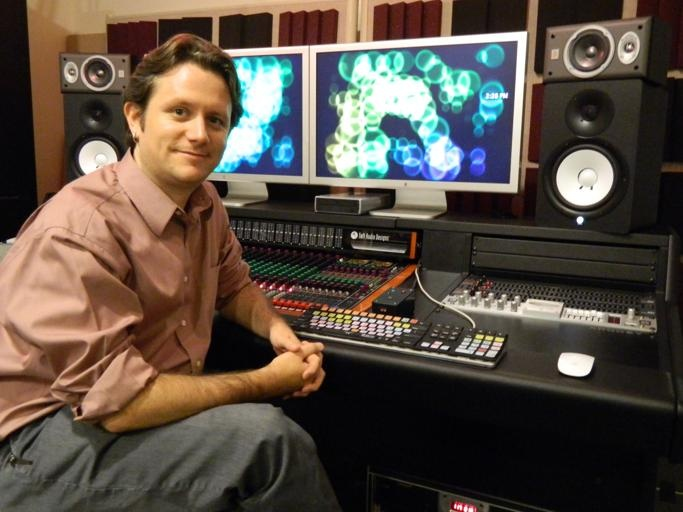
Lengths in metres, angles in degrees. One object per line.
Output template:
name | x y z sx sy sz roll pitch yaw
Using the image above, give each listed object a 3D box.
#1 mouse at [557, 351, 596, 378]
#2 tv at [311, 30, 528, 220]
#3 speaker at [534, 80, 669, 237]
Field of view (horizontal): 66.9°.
mouse | 0.583 0.262 1.292 0.056 0.018 0.068 4 32 20
tv | 0.321 -0.565 2.233 0.876 0.696 0.258 4 12 20
speaker | 1.042 -0.380 1.956 0.544 0.560 0.292 0 9 -5
